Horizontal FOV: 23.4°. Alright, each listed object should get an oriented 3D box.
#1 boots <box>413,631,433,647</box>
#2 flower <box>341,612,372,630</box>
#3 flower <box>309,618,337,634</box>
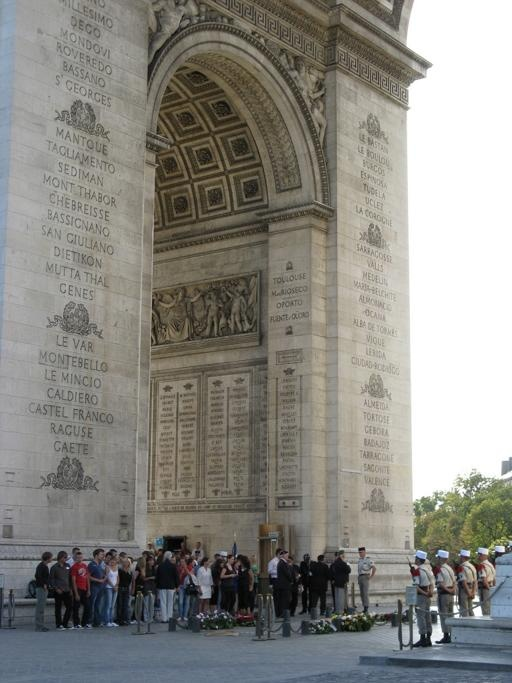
[{"bbox_3d":[2.731,4.868,20.402,0.405,0.302,0.156,2,-5,-2],"label":"boots"},{"bbox_3d":[1.915,5.384,23.916,0.405,0.237,0.408,-1,-4,2],"label":"flower"},{"bbox_3d":[1.218,5.263,23.071,0.362,0.201,0.335,3,-6,-28],"label":"flower"}]
